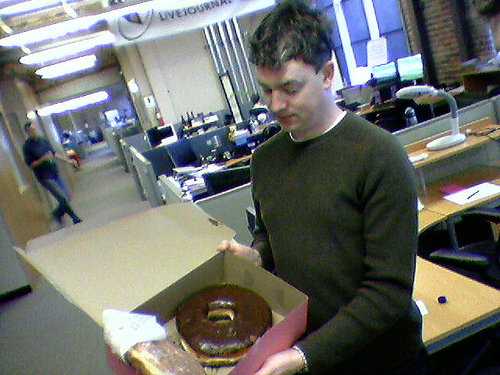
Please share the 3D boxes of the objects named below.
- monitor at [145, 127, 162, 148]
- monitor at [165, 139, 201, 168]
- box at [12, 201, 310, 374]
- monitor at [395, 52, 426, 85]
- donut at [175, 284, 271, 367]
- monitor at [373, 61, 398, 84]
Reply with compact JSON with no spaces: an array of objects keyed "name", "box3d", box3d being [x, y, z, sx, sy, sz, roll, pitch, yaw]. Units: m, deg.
[{"name":"monitor","box3d":[-1.619,-0.850,6.520,0.067,0.268,0.284,-14,12,28]},{"name":"monitor","box3d":[-0.858,-0.430,4.876,0.092,0.368,0.393,-12,8,44]},{"name":"box","box3d":[-0.141,0.142,0.691,0.450,0.120,0.336,24,28,36]},{"name":"monitor","box3d":[1.761,-1.286,4.267,0.270,0.304,0.230,-11,16,21]},{"name":"donut","box3d":[-0.056,0.259,0.774,0.185,0.108,0.165,-17,14,-2]},{"name":"monitor","box3d":[1.585,-1.343,4.564,0.347,0.203,0.187,-4,20,41]}]
